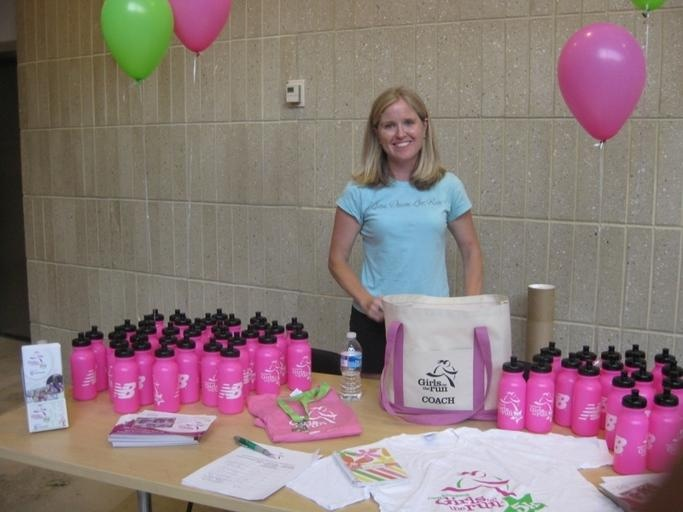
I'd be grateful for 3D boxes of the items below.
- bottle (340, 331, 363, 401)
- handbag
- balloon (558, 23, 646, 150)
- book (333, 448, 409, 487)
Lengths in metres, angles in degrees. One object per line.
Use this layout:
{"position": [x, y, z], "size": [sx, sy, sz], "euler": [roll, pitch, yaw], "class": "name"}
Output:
{"position": [0.038, 0.419, 2.540], "size": [0.084, 0.267, 0.091], "euler": [-1, 14, 0], "class": "bottle"}
{"position": [0.360, 0.377, 2.360], "size": [0.438, 0.475, 0.299], "euler": [1, 12, 8], "class": "handbag"}
{"position": [1.064, -0.706, 2.664], "size": [0.354, 0.507, 0.354], "euler": [12, -12, -38], "class": "balloon"}
{"position": [0.091, 0.661, 2.044], "size": [0.176, 0.060, 0.211], "euler": [0, 4, -25], "class": "book"}
